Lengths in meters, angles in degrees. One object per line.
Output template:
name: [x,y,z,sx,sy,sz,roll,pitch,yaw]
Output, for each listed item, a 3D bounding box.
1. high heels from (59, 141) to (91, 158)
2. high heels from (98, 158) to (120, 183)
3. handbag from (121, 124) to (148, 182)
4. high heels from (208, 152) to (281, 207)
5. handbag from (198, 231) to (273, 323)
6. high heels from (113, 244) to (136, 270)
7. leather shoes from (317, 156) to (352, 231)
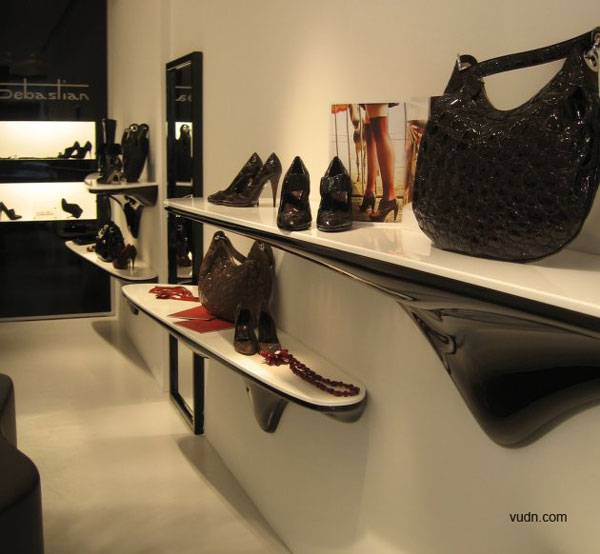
high heels: [-1.930,-1.125,4.323,0.308,0.165,0.117,1,16,8]
high heels: [-1.249,-0.700,3.268,0.122,0.163,0.366,-2,6,-18]
handbag: [-1.052,-0.811,3.152,0.207,0.444,0.090,10,2,45]
high heels: [-0.154,-0.304,1.391,0.166,0.142,0.139,-15,21,-26]
handbag: [-0.202,0.011,1.562,0.109,0.228,0.253,3,4,-33]
high heels: [-1.161,-0.133,3.294,0.088,0.160,0.304,-3,11,-27]
leather shoes: [0.065,-0.150,0.909,0.045,0.068,0.157,-1,34,6]
